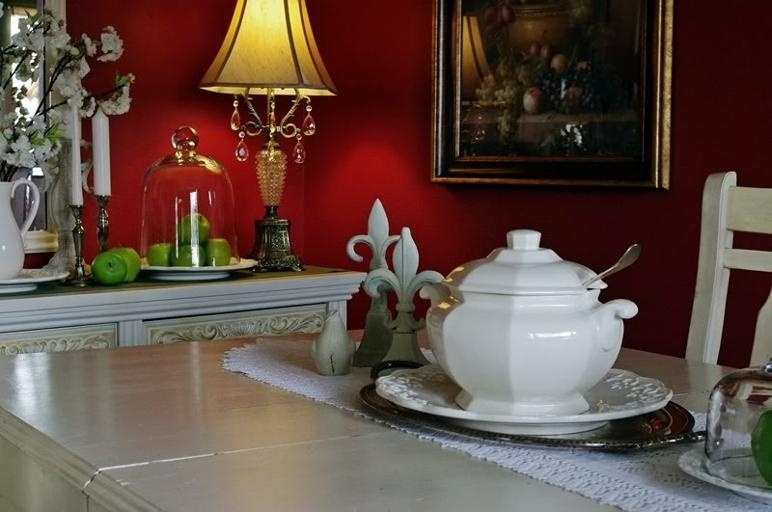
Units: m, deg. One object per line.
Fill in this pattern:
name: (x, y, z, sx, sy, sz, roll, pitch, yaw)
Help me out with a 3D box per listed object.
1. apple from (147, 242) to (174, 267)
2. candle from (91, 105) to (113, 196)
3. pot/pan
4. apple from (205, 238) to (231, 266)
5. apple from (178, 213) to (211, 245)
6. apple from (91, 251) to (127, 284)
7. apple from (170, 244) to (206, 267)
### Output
apple: (-0.806, -0.004, 2.355, 0.085, 0.077, 0.083, 0, -3, -2)
candle: (-1.002, -0.356, 2.298, 0.066, 0.291, 0.176, -6, 11, -23)
pot/pan: (0.213, 0.093, 0.956, 0.302, 0.222, 0.246, -2, -4, 39)
apple: (-0.612, -0.010, 2.385, 0.090, 0.086, 0.090, 5, -12, -38)
apple: (-0.693, -0.101, 2.354, 0.101, 0.119, 0.100, 3, 2, -34)
apple: (-0.943, 0.049, 2.236, 0.118, 0.137, 0.136, 5, -5, -42)
apple: (-0.705, 0.006, 2.296, 0.090, 0.081, 0.088, 0, -3, -9)
